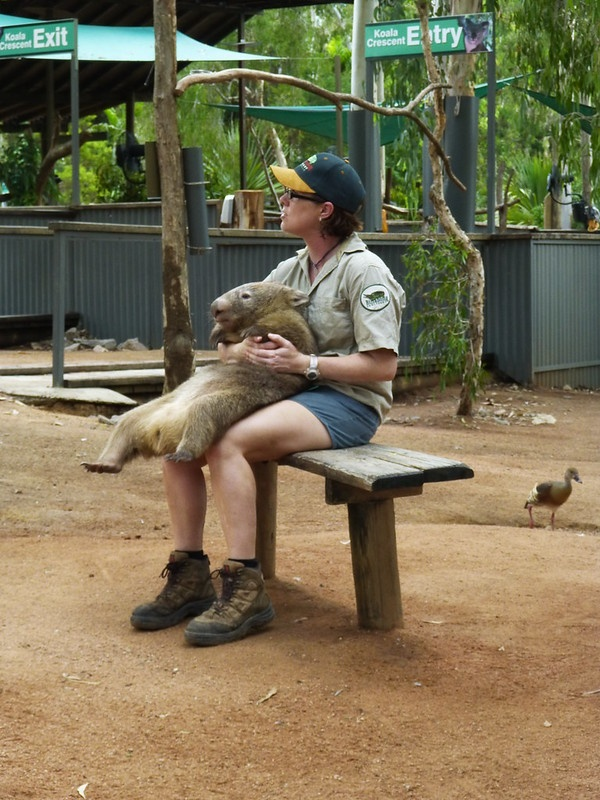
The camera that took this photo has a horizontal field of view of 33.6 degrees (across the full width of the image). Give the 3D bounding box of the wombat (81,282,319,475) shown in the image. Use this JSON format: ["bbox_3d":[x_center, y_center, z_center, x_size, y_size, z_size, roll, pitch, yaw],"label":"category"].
[{"bbox_3d":[-0.297,-0.115,3.465,0.424,0.559,1.066,0,12,42],"label":"wombat"}]

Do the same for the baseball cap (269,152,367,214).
[{"bbox_3d":[0.076,-0.811,3.598,0.363,0.172,0.216,22,15,-17],"label":"baseball cap"}]

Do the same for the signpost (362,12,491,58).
[{"bbox_3d":[1.515,-4.288,11.667,0.538,0.483,1.894,-3,11,-34],"label":"signpost"}]
